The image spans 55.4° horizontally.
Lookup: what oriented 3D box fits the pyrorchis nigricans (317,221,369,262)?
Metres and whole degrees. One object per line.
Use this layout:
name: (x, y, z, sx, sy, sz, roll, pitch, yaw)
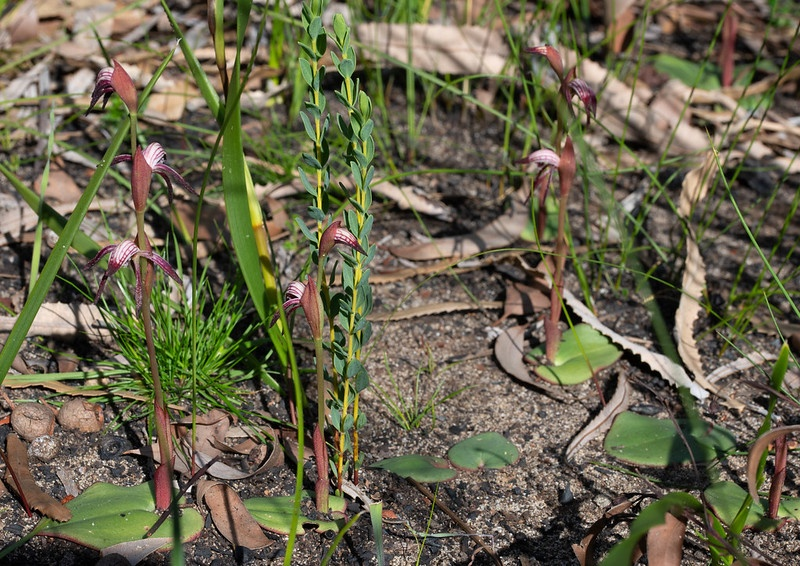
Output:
pyrorchis nigricans: (-0.133, -0.082, 1.747, 0.114, 0.048, 0.087, 14, 78, -9)
